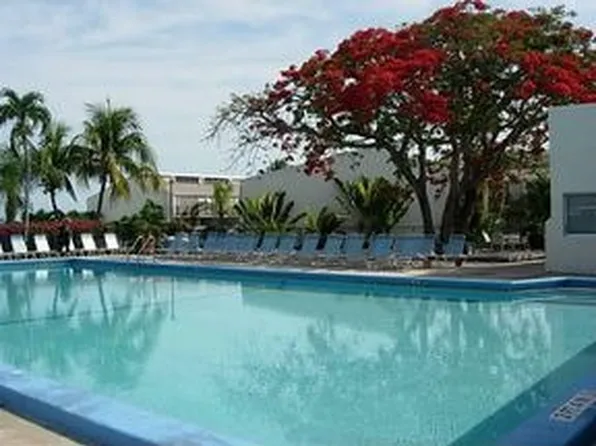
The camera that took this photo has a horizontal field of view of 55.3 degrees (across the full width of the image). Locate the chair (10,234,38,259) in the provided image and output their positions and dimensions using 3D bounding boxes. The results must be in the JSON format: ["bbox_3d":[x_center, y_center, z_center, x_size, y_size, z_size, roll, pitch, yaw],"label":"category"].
[{"bbox_3d":[-10.412,0.861,21.360,0.788,1.109,1.593,-1,1,-38],"label":"chair"}]

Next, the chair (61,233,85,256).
[{"bbox_3d":[-9.031,0.771,22.347,0.784,1.054,1.470,1,3,-23],"label":"chair"}]

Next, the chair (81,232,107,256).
[{"bbox_3d":[-8.334,0.838,23.124,0.589,1.101,1.577,-1,1,-39],"label":"chair"}]
